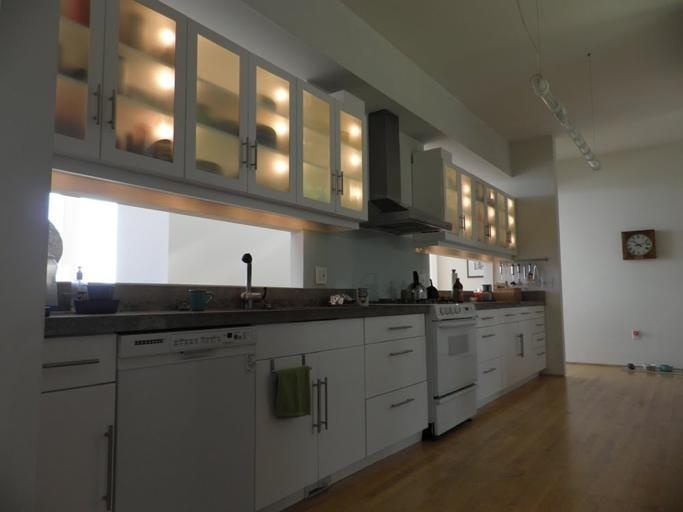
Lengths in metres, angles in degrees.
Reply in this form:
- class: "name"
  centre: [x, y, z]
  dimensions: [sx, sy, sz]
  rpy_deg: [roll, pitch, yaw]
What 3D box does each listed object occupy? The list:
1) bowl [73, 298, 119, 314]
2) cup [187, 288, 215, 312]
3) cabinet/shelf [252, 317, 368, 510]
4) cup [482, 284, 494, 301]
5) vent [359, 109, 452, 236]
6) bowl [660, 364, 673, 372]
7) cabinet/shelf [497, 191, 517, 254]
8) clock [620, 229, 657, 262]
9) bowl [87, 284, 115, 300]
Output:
- class: "bowl"
  centre: [-1.120, 0.231, 2.268]
  dimensions: [0.126, 0.049, 0.100]
  rpy_deg: [2, -6, -33]
- class: "cup"
  centre: [-0.782, 0.247, 2.811]
  dimensions: [0.161, 0.158, 0.101]
  rpy_deg: [6, -10, -38]
- class: "cabinet/shelf"
  centre: [-0.188, 0.862, 2.654]
  dimensions: [0.431, 0.919, 0.857]
  rpy_deg: [-6, -6, 37]
- class: "cup"
  centre: [1.783, 0.449, 6.001]
  dimensions: [0.169, 0.212, 0.174]
  rpy_deg: [0, -4, 0]
- class: "vent"
  centre: [0.490, -0.730, 4.224]
  dimensions: [0.549, 1.063, 0.749]
  rpy_deg: [1, 1, 27]
- class: "bowl"
  centre: [4.187, 1.446, 6.355]
  dimensions: [0.100, 0.072, 0.108]
  rpy_deg: [2, -3, 0]
- class: "cabinet/shelf"
  centre: [2.119, -0.404, 6.340]
  dimensions: [0.221, 0.741, 0.729]
  rpy_deg: [-2, -5, 32]
- class: "clock"
  centre: [4.120, -0.150, 6.832]
  dimensions: [0.418, 0.410, 0.099]
  rpy_deg: [1, 1, 30]
- class: "bowl"
  centre: [-1.124, 0.166, 2.301]
  dimensions: [0.118, 0.092, 0.064]
  rpy_deg: [2, 0, -41]
